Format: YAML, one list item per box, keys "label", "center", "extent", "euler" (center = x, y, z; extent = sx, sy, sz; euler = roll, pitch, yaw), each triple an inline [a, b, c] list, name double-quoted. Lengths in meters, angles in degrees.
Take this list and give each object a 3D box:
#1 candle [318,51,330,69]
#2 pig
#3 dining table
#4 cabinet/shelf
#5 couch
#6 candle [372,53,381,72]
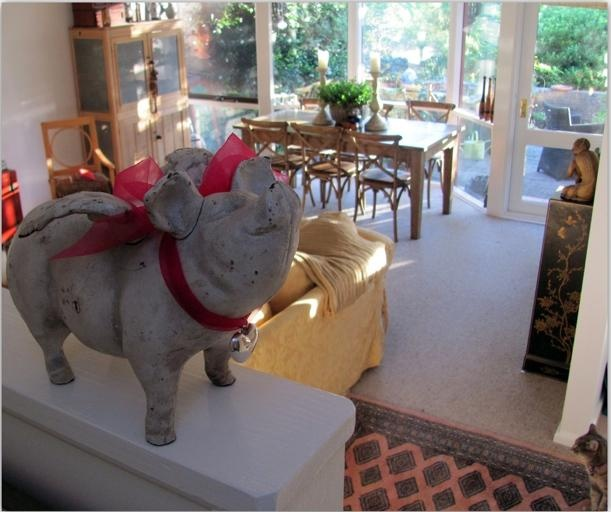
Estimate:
- label: "candle"
  center: [0.187, -2.022, 5.019]
  extent: [0.077, 0.159, 0.278]
  euler: [2, 21, 8]
- label: "pig"
  center: [-0.215, 0.026, 0.971]
  extent: [0.520, 0.449, 0.438]
  euler: [11, 29, 22]
- label: "dining table"
  center: [0.889, -1.006, 5.629]
  extent: [2.884, 1.286, 1.689]
  euler: [13, 25, 29]
- label: "cabinet/shelf"
  center: [-1.931, -1.642, 5.711]
  extent: [0.543, 2.043, 1.181]
  euler: [17, 34, 20]
- label: "couch"
  center: [0.055, 0.192, 1.765]
  extent: [0.389, 0.394, 0.762]
  euler: [17, 34, 21]
- label: "candle"
  center: [0.665, -1.841, 4.686]
  extent: [0.078, 0.156, 0.062]
  euler: [1, 20, 4]
